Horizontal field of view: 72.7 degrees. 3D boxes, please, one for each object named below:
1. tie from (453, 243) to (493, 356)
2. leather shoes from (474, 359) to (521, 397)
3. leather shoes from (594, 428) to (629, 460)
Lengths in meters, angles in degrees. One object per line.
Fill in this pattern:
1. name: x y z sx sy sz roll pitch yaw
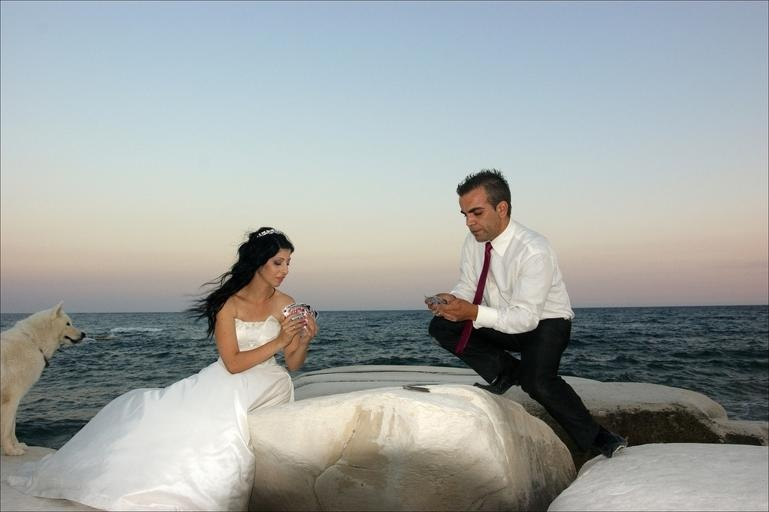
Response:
1. tie: 0.855 0.464 4.885 0.151 1.220 0.058 12 -22 45
2. leather shoes: 1.097 1.210 4.948 0.717 0.278 0.226 12 -16 -36
3. leather shoes: 1.767 1.455 4.019 0.224 0.193 0.272 -2 -4 9
